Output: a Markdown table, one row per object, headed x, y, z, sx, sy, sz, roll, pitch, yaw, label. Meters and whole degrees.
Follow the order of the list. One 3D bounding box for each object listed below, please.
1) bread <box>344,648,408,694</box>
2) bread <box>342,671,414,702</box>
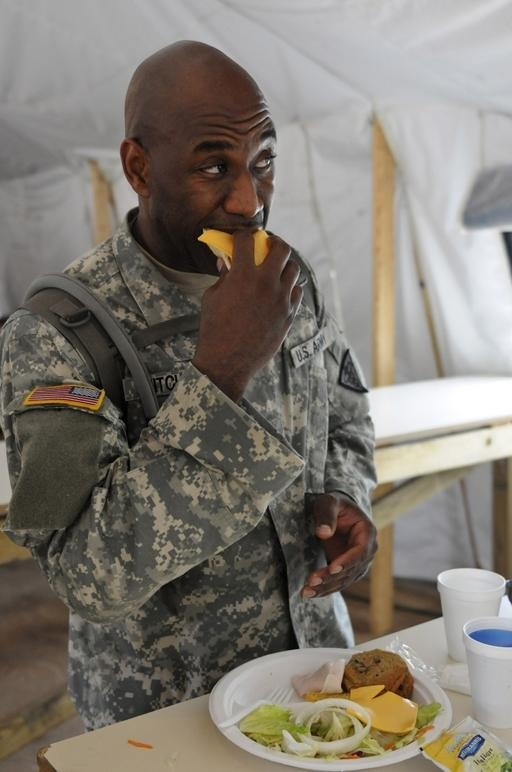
| x | y | z | sx | sy | sz | roll | pitch | yaw | label |
| --- | --- | --- | --- | --- | --- | --- | --- | --- | --- |
| 0.176 | 0.404 | 1.108 | 0.060 | 0.033 | 0.061 | 5 | 16 | 33 | bread |
| 0.179 | 0.421 | 1.092 | 0.050 | 0.013 | 0.050 | -2 | -1 | 29 | bread |
